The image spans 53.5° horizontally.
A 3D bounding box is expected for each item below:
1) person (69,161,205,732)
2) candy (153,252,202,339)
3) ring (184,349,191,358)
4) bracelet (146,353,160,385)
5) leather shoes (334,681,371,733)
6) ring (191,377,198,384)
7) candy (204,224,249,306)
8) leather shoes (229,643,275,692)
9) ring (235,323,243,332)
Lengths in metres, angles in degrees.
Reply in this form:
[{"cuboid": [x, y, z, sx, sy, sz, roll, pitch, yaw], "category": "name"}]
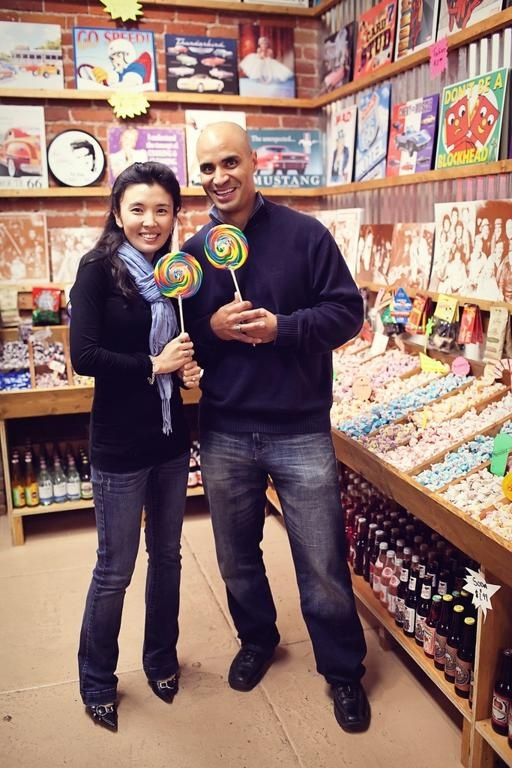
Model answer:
[{"cuboid": [-0.353, 0.244, 1.493, 0.336, 1.638, 0.486, -2, 2, -21], "category": "person"}, {"cuboid": [-0.209, -0.249, 1.420, 0.118, 0.214, 0.317, -1, 2, -6], "category": "candy"}, {"cuboid": [-0.181, -0.081, 1.362, 0.008, 0.024, 0.038, 0, 2, 12], "category": "ring"}, {"cuboid": [-0.261, -0.034, 1.339, 0.022, 0.066, 0.048, 1, 24, 2], "category": "bracelet"}, {"cuboid": [0.292, 0.985, 1.555, 0.060, 0.064, 0.167, -1, 0, 3], "category": "leather shoes"}, {"cuboid": [-0.168, -0.010, 1.397, 0.004, 0.013, 0.013, 20, 15, 33], "category": "ring"}, {"cuboid": [-0.078, -0.327, 1.391, 0.110, 0.208, 0.178, -1, 2, 0], "category": "candy"}, {"cuboid": [-0.031, 0.997, 1.814, 0.068, 0.081, 0.198, 4, -5, 12], "category": "leather shoes"}, {"cuboid": [-0.046, -0.147, 1.320, 0.011, 0.016, 0.006, -19, 13, 6], "category": "ring"}]
